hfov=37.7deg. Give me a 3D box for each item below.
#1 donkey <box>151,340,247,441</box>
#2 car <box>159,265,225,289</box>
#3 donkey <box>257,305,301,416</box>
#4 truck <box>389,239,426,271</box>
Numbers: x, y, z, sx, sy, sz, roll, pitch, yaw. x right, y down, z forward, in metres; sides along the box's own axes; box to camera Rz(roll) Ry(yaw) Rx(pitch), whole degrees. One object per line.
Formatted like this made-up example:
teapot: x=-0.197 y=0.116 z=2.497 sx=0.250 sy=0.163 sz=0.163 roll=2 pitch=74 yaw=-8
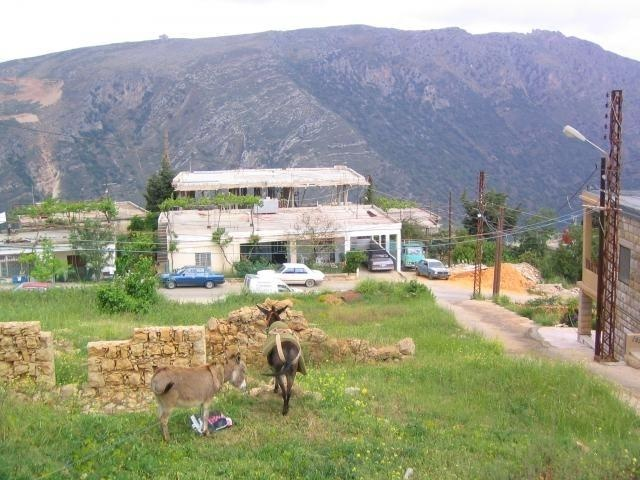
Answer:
donkey: x=-6.199 y=8.136 z=49.728 sx=4.938 sy=4.326 sz=1.570 roll=1 pitch=-1 yaw=-28
car: x=-11.081 y=3.200 z=81.650 sx=4.551 sy=1.944 sz=2.275 roll=3 pitch=-1 yaw=-6
donkey: x=-2.064 y=6.381 z=51.793 sx=1.995 sy=4.935 sz=3.816 roll=-1 pitch=13 yaw=-7
truck: x=9.105 y=1.492 z=95.369 sx=1.980 sy=2.463 sz=3.704 roll=0 pitch=1 yaw=-4
